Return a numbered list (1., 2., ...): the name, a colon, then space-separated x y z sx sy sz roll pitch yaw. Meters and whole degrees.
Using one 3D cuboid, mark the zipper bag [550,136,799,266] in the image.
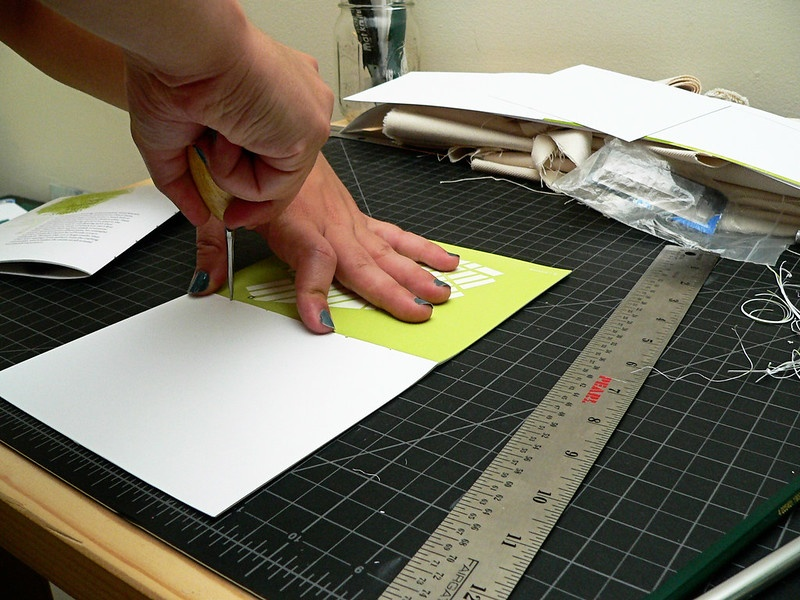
1. zipper bag: 0.410 -0.130 0.917 0.293 0.033 0.226 24 41 20
